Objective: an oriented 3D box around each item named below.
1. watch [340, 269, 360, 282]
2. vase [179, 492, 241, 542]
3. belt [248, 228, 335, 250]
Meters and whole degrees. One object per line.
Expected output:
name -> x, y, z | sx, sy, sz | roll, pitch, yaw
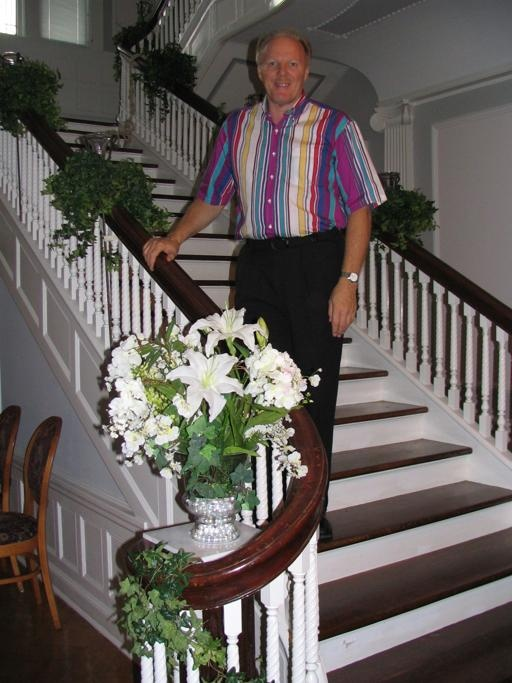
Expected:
watch -> 0.264, -0.176, 1.607 | 0.035, 0.029, 0.038 | 4, 2, -6
vase -> -0.082, 0.353, 1.172 | 0.119, 0.078, 0.118 | -6, -8, 39
belt -> 0.100, -0.293, 1.687 | 0.276, 0.058, 0.097 | 2, 9, 9
